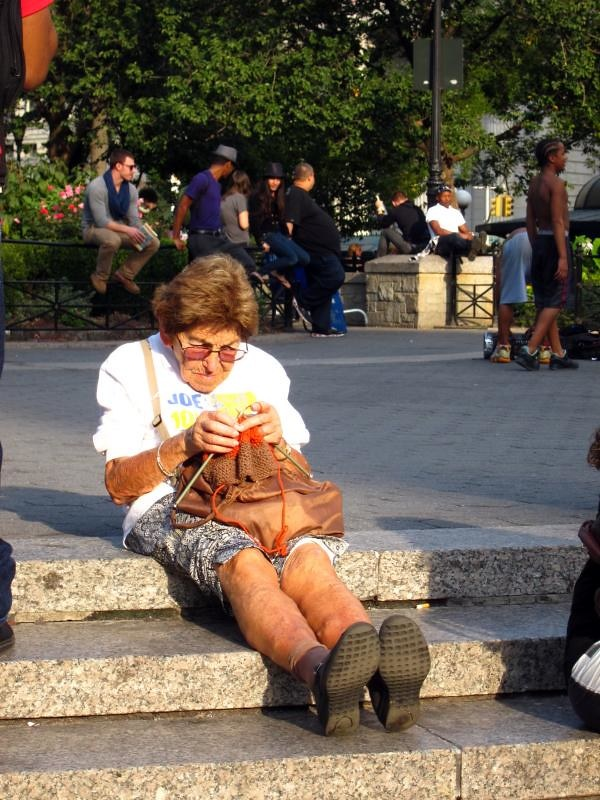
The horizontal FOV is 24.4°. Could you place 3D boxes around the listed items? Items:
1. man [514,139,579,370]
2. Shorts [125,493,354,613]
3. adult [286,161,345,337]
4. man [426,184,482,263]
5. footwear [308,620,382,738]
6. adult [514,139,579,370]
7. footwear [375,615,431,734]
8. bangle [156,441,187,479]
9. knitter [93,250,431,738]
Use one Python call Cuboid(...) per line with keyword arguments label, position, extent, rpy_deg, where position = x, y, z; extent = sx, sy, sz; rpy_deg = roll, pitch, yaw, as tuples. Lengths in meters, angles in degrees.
Cuboid(label="man", position=(2.017, -1.181, 11.394), extent=(0.407, 1.915, 0.653), rpy_deg=(-5, 12, -13))
Cuboid(label="Shorts", position=(-0.299, 0.389, 4.112), extent=(0.494, 0.161, 0.390), rpy_deg=(12, 3, 29))
Cuboid(label="adult", position=(0.193, -1.670, 15.463), extent=(0.654, 1.888, 0.837), rpy_deg=(-7, 4, 9))
Cuboid(label="man", position=(2.163, -2.329, 18.648), extent=(0.705, 1.050, 1.057), rpy_deg=(-7, 4, -28))
Cuboid(label="footwear", position=(0.105, 0.722, 3.529), extent=(0.163, 0.356, 0.181), rpy_deg=(-7, 12, -25))
Cuboid(label="adult", position=(2.016, -1.181, 11.398), extent=(0.407, 1.915, 0.661), rpy_deg=(-5, 12, -13))
Cuboid(label="footwear", position=(0.241, 0.702, 3.586), extent=(0.130, 0.317, 0.140), rpy_deg=(0, 19, -16))
Cuboid(label="bangle", position=(-0.380, 0.179, 4.162), extent=(0.031, 0.104, 0.113), rpy_deg=(-15, 2, 15))
Cuboid(label="knitter", position=(0.100, 0.193, 4.201), extent=(0.737, 0.871, 1.661), rpy_deg=(-8, 28, -33))
